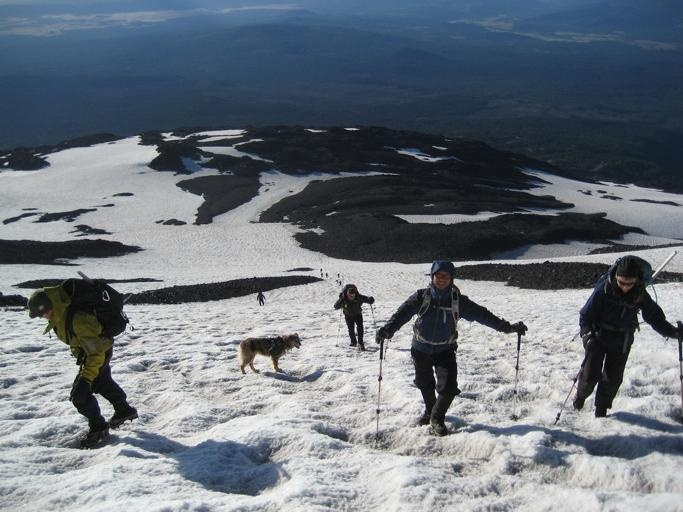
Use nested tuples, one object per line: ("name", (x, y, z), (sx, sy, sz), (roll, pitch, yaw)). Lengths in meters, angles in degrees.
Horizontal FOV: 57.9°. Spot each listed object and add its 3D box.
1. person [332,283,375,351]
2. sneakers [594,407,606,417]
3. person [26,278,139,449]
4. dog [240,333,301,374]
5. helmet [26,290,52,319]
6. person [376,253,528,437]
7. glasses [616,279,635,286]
("person", (0.359, 1.629, 17.338), (1.038, 1.875, 1.580), (1, 14, 2))
("sneakers", (4.983, 3.012, 11.911), (0.224, 0.151, 0.210), (-2, 6, -29))
("person", (-4.722, 1.943, 11.495), (1.565, 3.088, 0.946), (-3, 16, -15))
("dog", (-1.896, 2.484, 15.626), (1.853, 0.785, 0.504), (2, -16, -36))
("helmet", (-5.455, 0.896, 11.127), (0.407, 0.517, 0.457), (-10, 17, -35))
("person", (1.810, 1.687, 11.842), (1.843, 3.240, 1.269), (-9, 18, -32))
("glasses", (5.246, 0.488, 11.348), (0.156, 0.141, 0.081), (4, 56, 43))
